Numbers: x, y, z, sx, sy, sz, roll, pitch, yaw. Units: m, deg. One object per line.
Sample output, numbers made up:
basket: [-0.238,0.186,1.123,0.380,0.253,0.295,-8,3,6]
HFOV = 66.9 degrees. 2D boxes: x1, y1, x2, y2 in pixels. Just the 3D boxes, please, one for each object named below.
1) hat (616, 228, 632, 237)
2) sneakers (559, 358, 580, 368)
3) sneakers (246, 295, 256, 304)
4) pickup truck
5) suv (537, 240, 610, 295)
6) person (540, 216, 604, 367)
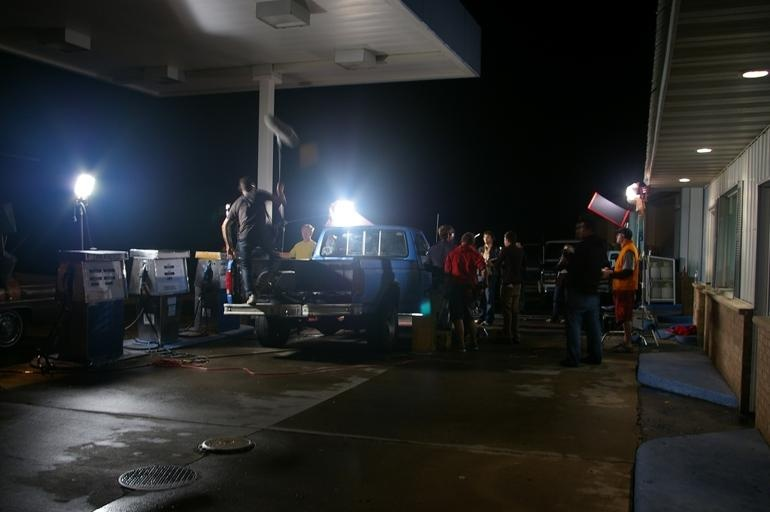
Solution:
hat: [4.948,-0.508,11.914,0.171,0.230,0.221,13,-20,-16]
sneakers: [3.412,1.942,10.738,0.330,0.177,0.202,4,7,25]
sneakers: [-2.592,0.831,11.127,0.116,0.208,0.205,9,-40,-21]
pickup truck: [-0.811,0.611,11.738,2.266,1.729,4.270,1,3,22]
suv: [7.010,0.687,22.156,2.132,2.287,3.820,1,6,17]
person: [3.696,0.679,10.853,0.827,2.685,0.499,-2,7,-26]
